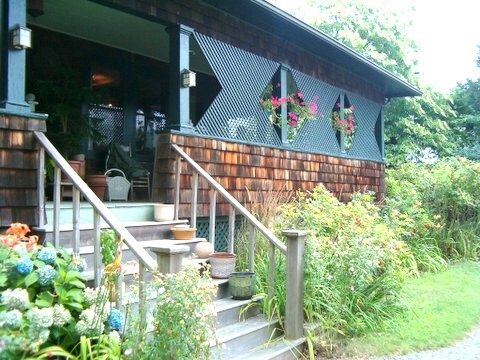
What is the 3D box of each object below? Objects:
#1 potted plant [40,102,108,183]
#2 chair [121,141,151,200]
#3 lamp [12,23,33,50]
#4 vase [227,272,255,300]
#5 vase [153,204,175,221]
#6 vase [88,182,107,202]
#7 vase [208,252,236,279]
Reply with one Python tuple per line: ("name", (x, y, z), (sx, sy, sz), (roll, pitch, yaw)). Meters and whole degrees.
("potted plant", (-2.717, -0.687, 7.564), (1.110, 1.675, 1.072), (-1, -8, 3))
("chair", (-2.022, -0.165, 8.176), (0.558, 1.069, 1.087), (0, 0, -14))
("lamp", (-2.430, -1.586, 4.779), (0.198, 0.215, 0.224), (0, 0, 36))
("vase", (0.002, 1.186, 4.937), (0.248, 0.254, 0.296), (-2, -3, 24))
("vase", (-1.038, 0.455, 5.715), (0.191, 0.179, 0.218), (1, -7, -6))
("vase", (-2.081, 0.157, 6.180), (0.243, 0.299, 0.224), (0, 0, -16))
("vase", (-0.226, 1.056, 5.250), (0.425, 0.286, 0.453), (5, -4, -26))
